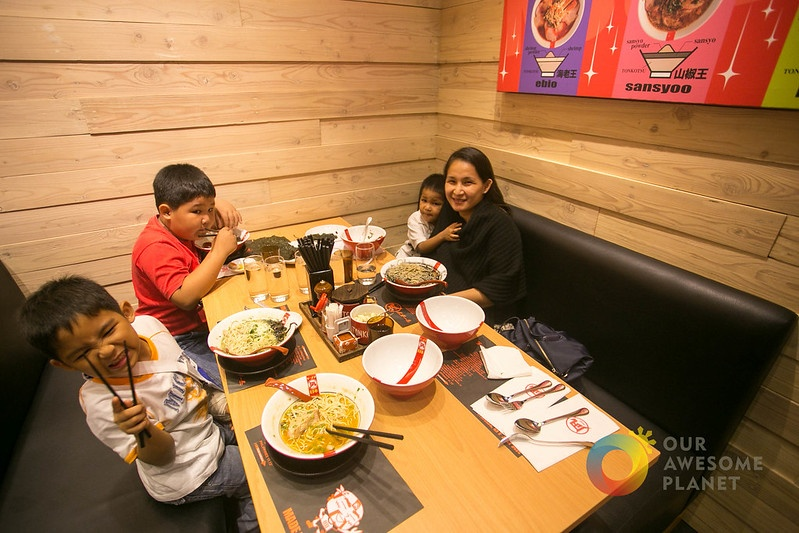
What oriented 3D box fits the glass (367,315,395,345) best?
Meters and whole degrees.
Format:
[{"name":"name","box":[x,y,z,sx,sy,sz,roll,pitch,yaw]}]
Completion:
[{"name":"glass","box":[-0.105,0.315,2.381,0.121,0.135,0.139,-9,34,-15]}]

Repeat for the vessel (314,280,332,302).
[{"name":"vessel","box":[-0.427,0.130,2.556,0.110,0.106,0.103,9,31,12]}]

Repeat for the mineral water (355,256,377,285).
[{"name":"mineral water","box":[-0.213,0.030,2.825,0.132,0.177,0.124,9,25,26]}]

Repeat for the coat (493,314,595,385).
[{"name":"coat","box":[0.846,0.489,2.704,0.372,0.153,0.442,-5,34,-40]}]

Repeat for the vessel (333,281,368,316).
[{"name":"vessel","box":[-0.264,0.176,2.515,0.172,0.150,0.149,-5,34,3]}]

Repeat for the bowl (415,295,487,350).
[{"name":"bowl","box":[0.261,0.275,2.432,0.309,0.131,0.307,1,34,-1]}]

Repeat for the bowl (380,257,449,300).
[{"name":"bowl","box":[0.101,0.081,2.715,0.386,0.138,0.392,-1,28,0]}]

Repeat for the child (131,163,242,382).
[{"name":"child","box":[-1.256,0.055,2.656,0.608,1.417,0.608,-4,42,-17]}]

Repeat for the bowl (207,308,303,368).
[{"name":"bowl","box":[-0.754,0.380,2.350,0.422,0.150,0.418,-6,30,4]}]

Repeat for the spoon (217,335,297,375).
[{"name":"spoon","box":[-0.693,0.456,2.247,0.212,0.047,0.205,-13,23,-36]}]

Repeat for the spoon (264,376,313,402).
[{"name":"spoon","box":[-0.515,0.569,2.102,0.214,0.031,0.047,24,66,15]}]

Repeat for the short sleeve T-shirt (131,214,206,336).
[{"name":"short sleeve T-shirt","box":[-1.367,0.065,2.696,0.343,0.553,0.582,-10,31,-28]}]

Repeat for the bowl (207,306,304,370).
[{"name":"bowl","box":[-0.757,0.374,2.354,0.427,0.145,0.411,-1,27,0]}]

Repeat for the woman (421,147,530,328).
[{"name":"woman","box":[0.530,-0.171,3.041,0.603,1.007,0.947,-12,29,-12]}]

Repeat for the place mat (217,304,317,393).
[{"name":"place mat","box":[-0.679,0.446,2.333,0.408,0.129,0.432,-16,35,-29]}]

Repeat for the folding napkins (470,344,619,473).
[{"name":"folding napkins","box":[0.682,0.705,2.063,0.416,0.044,0.409,-21,41,-32]}]

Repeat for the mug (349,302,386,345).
[{"name":"mug","box":[-0.192,0.274,2.390,0.207,0.143,0.199,-24,43,-30]}]

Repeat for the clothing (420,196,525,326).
[{"name":"clothing","box":[0.498,-0.019,2.962,0.456,0.590,0.739,-7,27,-16]}]

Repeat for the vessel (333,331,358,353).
[{"name":"vessel","box":[-0.280,0.375,2.322,0.104,0.071,0.094,-5,39,-10]}]
